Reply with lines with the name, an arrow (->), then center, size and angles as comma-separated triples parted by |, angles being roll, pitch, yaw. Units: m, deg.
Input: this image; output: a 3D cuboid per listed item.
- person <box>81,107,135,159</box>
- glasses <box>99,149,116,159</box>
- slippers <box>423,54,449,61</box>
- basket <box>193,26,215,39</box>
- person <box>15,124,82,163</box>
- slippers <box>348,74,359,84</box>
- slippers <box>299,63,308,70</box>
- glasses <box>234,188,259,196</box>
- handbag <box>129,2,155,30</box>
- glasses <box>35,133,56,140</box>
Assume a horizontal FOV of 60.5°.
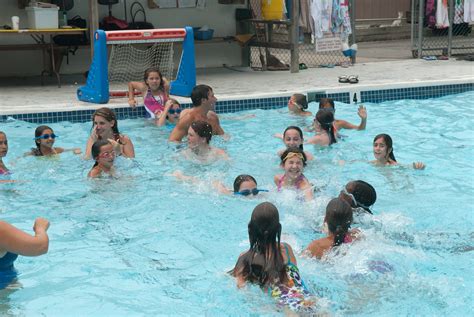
person -> -2.051, -0.447, 6.772 | 0.862, 0.999, 0.880 | -5, 18, -15
glasses -> -1.892, -0.062, 5.848 | 0.225, 0.119, 0.082 | -7, 14, -17
slippers -> 6.855, -3.485, 14.032 | 0.728, 0.174, 0.397 | -4, 11, -13
basket -> -1.047, -3.793, 12.331 | 0.548, 0.267, 0.655 | -6, 13, -27
person -> -3.254, -0.249, 6.832 | 0.405, 0.473, 1.201 | -8, -1, 32
slippers -> 3.000, -2.037, 10.528 | 0.280, 0.153, 0.393 | 0, 23, 3
slippers -> 2.151, -3.040, 13.348 | 0.392, 0.165, 0.476 | 3, 22, -1
glasses -> 0.117, 0.449, 5.427 | 0.328, 0.112, 0.111 | -1, 13, 5
handbag -> -2.918, -4.278, 12.114 | 0.702, 0.793, 0.471 | -7, 14, -14
glasses -> -3.171, -0.370, 6.684 | 0.293, 0.096, 0.136 | -7, 14, -19
